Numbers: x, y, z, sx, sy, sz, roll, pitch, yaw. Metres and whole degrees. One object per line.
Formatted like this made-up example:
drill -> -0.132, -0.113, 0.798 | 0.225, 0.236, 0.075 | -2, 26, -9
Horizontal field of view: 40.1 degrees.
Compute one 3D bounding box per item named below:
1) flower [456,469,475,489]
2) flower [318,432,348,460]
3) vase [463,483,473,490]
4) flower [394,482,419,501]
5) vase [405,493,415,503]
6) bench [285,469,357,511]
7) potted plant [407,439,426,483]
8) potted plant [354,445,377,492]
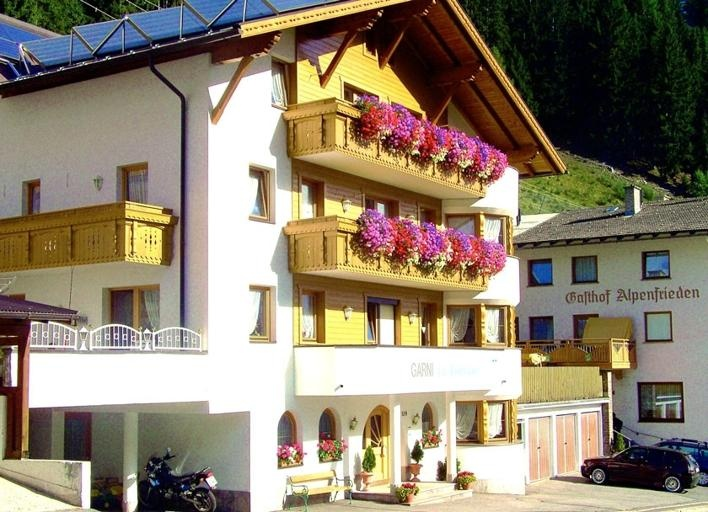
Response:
flower -> 4.651, 9.362, 40.608 | 0.584, 0.661, 0.658 | -4, -8, 13
flower -> -0.887, 7.222, 36.528 | 0.799, 0.787, 1.013 | -10, -14, 42
vase -> 4.792, 9.650, 40.530 | 0.177, 0.257, 0.613 | -12, -15, 30
flower -> 1.996, 8.913, 36.509 | 0.582, 0.523, 0.642 | -8, -11, 15
vase -> 2.136, 9.128, 36.446 | 0.163, 0.364, 0.434 | -14, -15, 39
bench -> -1.327, 8.590, 35.667 | 0.652, 1.323, 3.198 | -14, -15, 39
potted plant -> 2.590, 8.561, 40.482 | 0.652, 1.637, 0.896 | -5, -12, 3
potted plant -> 0.593, 8.243, 37.890 | 0.795, 1.781, 0.991 | -14, -15, 37
